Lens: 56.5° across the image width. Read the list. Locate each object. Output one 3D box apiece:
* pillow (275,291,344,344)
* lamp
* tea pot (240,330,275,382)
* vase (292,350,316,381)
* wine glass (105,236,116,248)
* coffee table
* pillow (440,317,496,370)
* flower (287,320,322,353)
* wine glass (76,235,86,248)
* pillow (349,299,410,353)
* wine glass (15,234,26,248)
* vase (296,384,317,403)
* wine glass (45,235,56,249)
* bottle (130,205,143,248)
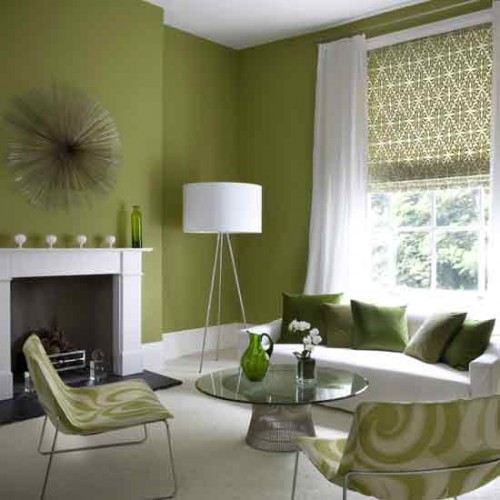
[{"bbox_3d":[0.521,0.580,3.937,0.311,0.351,0.132,-2,-26,15],"label":"pillow"},{"bbox_3d":[-0.295,0.228,4.978,0.855,1.913,1.615,0,0,2],"label":"lamp"},{"bbox_3d":[0.047,0.636,2.866,0.232,0.464,0.240,2,-5,0],"label":"tea pot"},{"bbox_3d":[0.312,0.656,2.674,0.125,0.236,0.142,1,-4,-28],"label":"vase"},{"bbox_3d":[-1.264,-0.077,4.229,0.116,0.112,0.124,0,0,-33],"label":"wine glass"},{"bbox_3d":[0.209,0.865,2.591,0.546,0.255,0.615,-3,-2,15],"label":"coffee table"},{"bbox_3d":[1.479,0.636,3.139,0.300,0.335,0.161,0,0,31],"label":"pillow"},{"bbox_3d":[0.313,0.515,2.651,0.153,0.211,0.138,6,-12,6],"label":"flower"},{"bbox_3d":[-1.460,-0.075,4.025,0.089,0.110,0.154,0,0,-22],"label":"wine glass"},{"bbox_3d":[1.031,0.627,3.721,0.281,0.315,0.123,2,-28,1],"label":"pillow"},{"bbox_3d":[-1.825,-0.073,3.696,0.083,0.108,0.116,0,0,-26],"label":"wine glass"},{"bbox_3d":[0.302,0.757,2.469,0.048,0.109,0.050,3,-5,-33],"label":"vase"},{"bbox_3d":[-1.638,-0.070,3.861,0.083,0.147,0.089,-1,0,-3],"label":"wine glass"},{"bbox_3d":[-1.081,-0.218,4.419,0.113,0.394,0.225,0,0,-14],"label":"bottle"}]
